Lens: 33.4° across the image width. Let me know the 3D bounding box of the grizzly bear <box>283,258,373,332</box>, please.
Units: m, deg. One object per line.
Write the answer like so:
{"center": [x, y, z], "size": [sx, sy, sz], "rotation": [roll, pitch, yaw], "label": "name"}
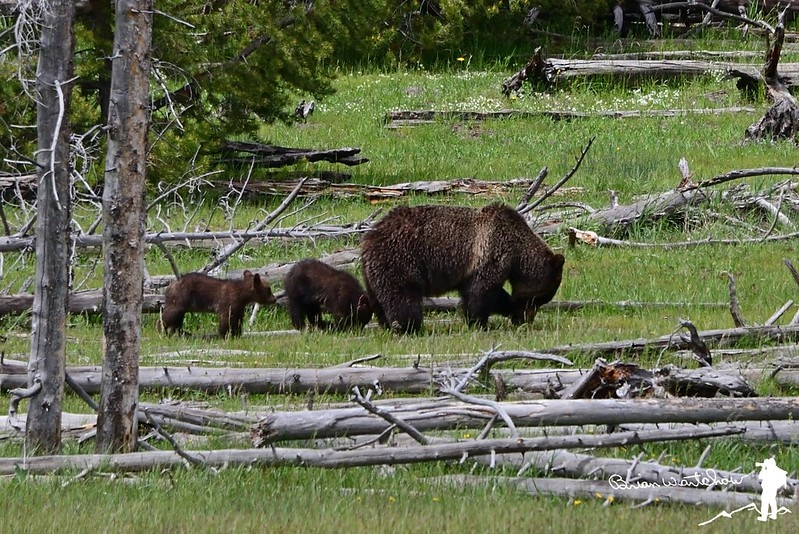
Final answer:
{"center": [-1.265, 0.536, 23.071], "size": [1.662, 1.428, 0.878], "rotation": [6, 7, 2], "label": "grizzly bear"}
